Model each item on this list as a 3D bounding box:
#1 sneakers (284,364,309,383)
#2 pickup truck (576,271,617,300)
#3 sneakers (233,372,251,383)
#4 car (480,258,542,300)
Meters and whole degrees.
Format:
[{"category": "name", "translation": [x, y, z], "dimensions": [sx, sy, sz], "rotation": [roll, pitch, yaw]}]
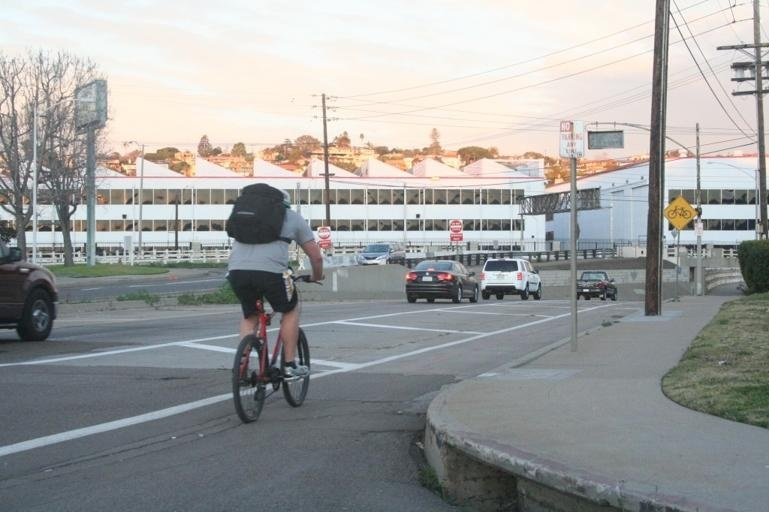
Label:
[{"category": "sneakers", "translation": [-1.168, 1.565, 12.330], "dimensions": [0.143, 0.168, 0.390], "rotation": [3, 7, 29]}, {"category": "pickup truck", "translation": [10.609, 1.460, 45.935], "dimensions": [1.543, 1.183, 3.341], "rotation": [0, -1, 20]}, {"category": "sneakers", "translation": [-1.815, 1.539, 11.588], "dimensions": [0.166, 0.080, 0.220], "rotation": [-1, -3, -2]}, {"category": "car", "translation": [5.840, 0.960, 41.013], "dimensions": [1.507, 1.198, 3.238], "rotation": [-1, 1, 19]}]
